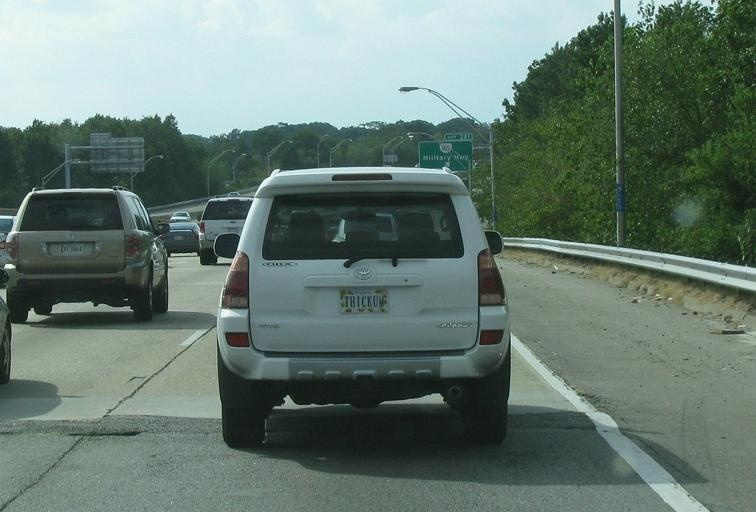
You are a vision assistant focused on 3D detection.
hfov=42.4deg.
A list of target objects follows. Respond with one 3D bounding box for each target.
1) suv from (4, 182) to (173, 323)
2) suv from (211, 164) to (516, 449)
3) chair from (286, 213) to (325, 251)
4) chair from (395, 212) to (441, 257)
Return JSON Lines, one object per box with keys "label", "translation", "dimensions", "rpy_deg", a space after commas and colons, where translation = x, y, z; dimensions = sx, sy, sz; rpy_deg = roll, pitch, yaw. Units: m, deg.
{"label": "suv", "translation": [-5.173, -0.109, 17.323], "dimensions": [1.788, 1.622, 3.221], "rpy_deg": [0, 4, -2]}
{"label": "suv", "translation": [-0.166, 0.248, 12.398], "dimensions": [3.152, 2.837, 5.652], "rpy_deg": [-1, 8, -2]}
{"label": "chair", "translation": [-0.718, -0.241, 9.772], "dimensions": [0.255, 0.244, 0.459], "rpy_deg": [0, 13, -2]}
{"label": "chair", "translation": [0.407, -0.192, 9.935], "dimensions": [0.355, 0.517, 0.481], "rpy_deg": [-1, -18, -2]}
